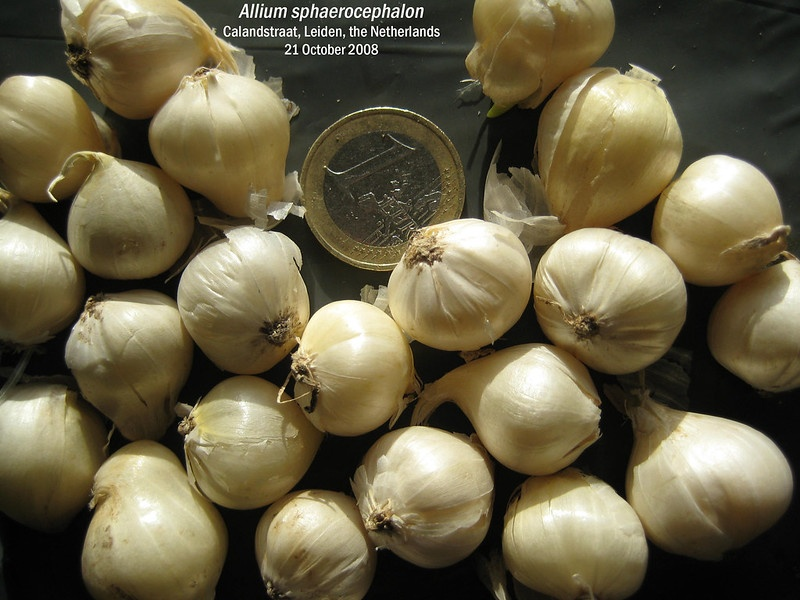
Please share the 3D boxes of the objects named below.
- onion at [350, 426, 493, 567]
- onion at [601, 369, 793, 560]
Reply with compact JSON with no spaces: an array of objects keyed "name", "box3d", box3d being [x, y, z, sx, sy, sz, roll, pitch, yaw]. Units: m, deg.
[{"name":"onion","box3d":[0.051,0.432,1.813,0.322,0.154,0.270,12,58,-4]},{"name":"onion","box3d":[0.687,0.472,2.033,0.315,0.363,0.508,-24,63,-3]}]
